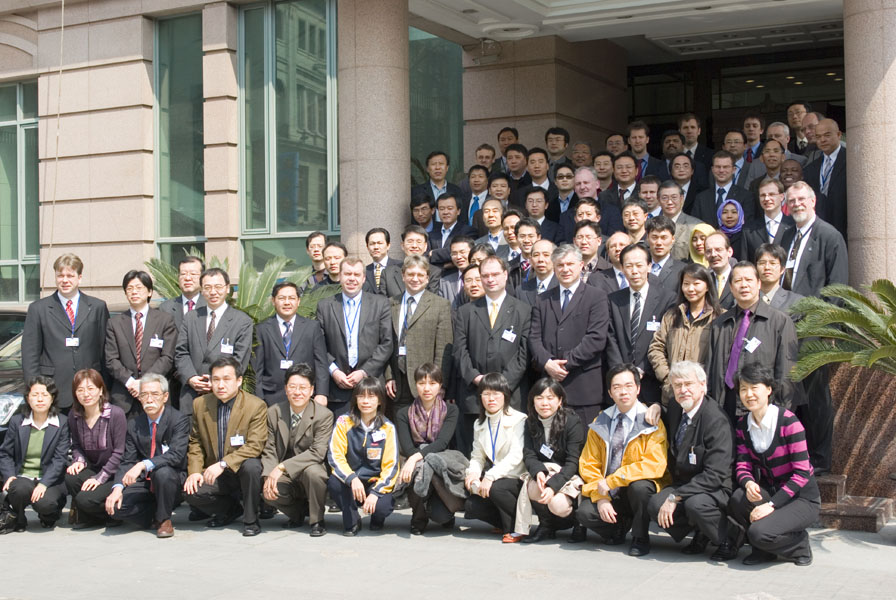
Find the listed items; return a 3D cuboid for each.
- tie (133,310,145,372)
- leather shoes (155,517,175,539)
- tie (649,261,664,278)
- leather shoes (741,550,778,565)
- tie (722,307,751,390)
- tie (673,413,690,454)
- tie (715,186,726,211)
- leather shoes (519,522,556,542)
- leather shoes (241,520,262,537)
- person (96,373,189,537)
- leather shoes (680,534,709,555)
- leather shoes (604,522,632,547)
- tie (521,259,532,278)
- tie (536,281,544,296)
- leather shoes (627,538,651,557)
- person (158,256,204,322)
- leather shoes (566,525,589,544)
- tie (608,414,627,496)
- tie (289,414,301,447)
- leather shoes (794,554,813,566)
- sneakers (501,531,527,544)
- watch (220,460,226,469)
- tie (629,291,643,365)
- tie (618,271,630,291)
[{"bbox_3d":[-3.401,0.451,9.060,0.093,0.638,0.139,0,4,-20],"label":"tie"},{"bbox_3d":[-2.781,2.211,8.072,0.181,0.189,0.395,0,5,-18],"label":"leather shoes"},{"bbox_3d":[2.207,-0.323,8.654,0.110,0.144,0.036,8,-13,31],"label":"tie"},{"bbox_3d":[2.656,2.190,7.004,0.341,0.139,0.112,1,-3,-1],"label":"leather shoes"},{"bbox_3d":[2.700,0.455,7.618,0.186,0.775,0.085,18,1,41],"label":"tie"},{"bbox_3d":[2.101,1.176,7.350,0.063,0.262,0.162,19,-6,-31],"label":"tie"},{"bbox_3d":[3.436,-1.266,10.307,0.116,0.334,0.048,6,-39,21],"label":"tie"},{"bbox_3d":[0.854,2.155,7.723,0.322,0.165,0.154,-2,5,-34],"label":"leather shoes"},{"bbox_3d":[-1.922,2.216,8.057,0.187,0.131,0.254,0,4,-14],"label":"leather shoes"},{"bbox_3d":[-3.002,1.525,8.184,0.690,1.544,0.535,1,4,0],"label":"person"},{"bbox_3d":[2.215,2.131,7.288,0.281,0.170,0.190,1,4,-8],"label":"leather shoes"},{"bbox_3d":[1.588,2.127,7.590,0.333,0.197,0.138,-2,5,-33],"label":"leather shoes"},{"bbox_3d":[0.900,-0.359,9.338,0.052,0.146,0.154,10,-22,-33],"label":"tie"},{"bbox_3d":[1.008,-0.132,8.856,0.028,0.106,0.112,14,-18,-37],"label":"tie"},{"bbox_3d":[1.704,2.160,7.296,0.189,0.133,0.274,2,4,13],"label":"leather shoes"},{"bbox_3d":[-3.137,-0.105,9.690,0.788,0.674,0.384,1,-5,2],"label":"person"},{"bbox_3d":[1.224,2.173,7.675,0.102,0.208,0.223,-6,-13,39],"label":"leather shoes"},{"bbox_3d":[1.561,1.313,7.580,0.158,0.544,0.109,2,4,10],"label":"tie"},{"bbox_3d":[-1.530,1.290,8.295,0.062,0.247,0.180,7,-26,-21],"label":"tie"},{"bbox_3d":[3.018,2.189,6.951,0.128,0.075,0.076,3,-3,-1],"label":"leather shoes"},{"bbox_3d":[0.624,2.206,7.680,0.195,0.051,0.095,5,-7,-27],"label":"sneakers"},{"bbox_3d":[-2.235,1.624,8.189,0.067,0.070,0.044,0,4,-14],"label":"watch"},{"bbox_3d":[1.893,0.280,8.268,0.111,0.770,0.107,1,-12,12],"label":"tie"},{"bbox_3d":[1.877,-0.207,8.712,0.152,0.158,0.052,-7,-16,32],"label":"tie"}]
